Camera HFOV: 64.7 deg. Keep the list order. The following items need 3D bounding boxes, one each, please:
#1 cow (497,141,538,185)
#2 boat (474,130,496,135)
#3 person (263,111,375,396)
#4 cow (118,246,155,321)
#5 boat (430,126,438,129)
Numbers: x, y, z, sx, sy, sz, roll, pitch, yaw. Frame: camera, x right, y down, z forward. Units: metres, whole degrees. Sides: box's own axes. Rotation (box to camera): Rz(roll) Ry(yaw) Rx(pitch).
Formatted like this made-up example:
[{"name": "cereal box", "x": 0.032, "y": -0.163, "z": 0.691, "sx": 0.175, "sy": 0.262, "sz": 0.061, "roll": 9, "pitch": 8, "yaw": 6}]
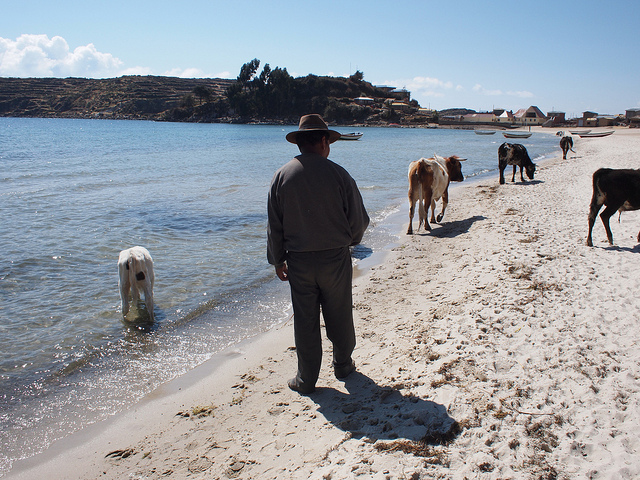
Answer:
[{"name": "cow", "x": 8.410, "y": -3.289, "z": 21.527, "sx": 1.326, "sy": 1.668, "sz": 2.140, "roll": 5, "pitch": 15, "yaw": 30}, {"name": "boat", "x": 33.372, "y": -21.676, "z": 102.716, "sx": 4.667, "sy": 0.810, "sz": 1.487, "roll": -2, "pitch": 3, "yaw": -9}, {"name": "person", "x": -0.035, "y": 0.280, "z": 6.546, "sx": 1.249, "sy": 3.678, "sz": 0.546, "roll": -4, "pitch": 13, "yaw": -7}, {"name": "cow", "x": -3.739, "y": 0.808, "z": 10.338, "sx": 0.715, "sy": 1.441, "sz": 2.395, "roll": -2, "pitch": 6, "yaw": -20}, {"name": "boat", "x": 30.171, "y": -29.645, "z": 133.734, "sx": 1.449, "sy": 0.672, "sz": 3.071, "roll": 0, "pitch": 13, "yaw": 8}]
